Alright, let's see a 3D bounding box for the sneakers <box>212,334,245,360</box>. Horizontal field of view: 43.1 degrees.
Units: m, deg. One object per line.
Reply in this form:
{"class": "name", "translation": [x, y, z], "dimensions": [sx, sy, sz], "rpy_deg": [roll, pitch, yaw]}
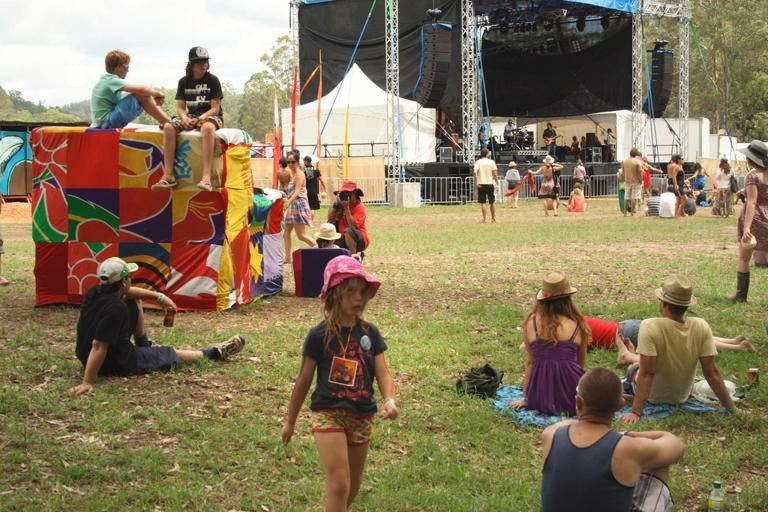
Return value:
{"class": "sneakers", "translation": [-2.375, 1.405, 15.101], "dimensions": [0.566, 0.214, 0.247], "rpy_deg": [-25, -12, 8]}

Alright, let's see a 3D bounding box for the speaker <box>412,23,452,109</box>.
{"class": "speaker", "translation": [1.774, -7.103, 35.246], "dimensions": [1.170, 2.791, 1.885], "rpy_deg": [-1, 4, -2]}

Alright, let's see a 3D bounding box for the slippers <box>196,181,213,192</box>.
{"class": "slippers", "translation": [-3.123, -1.239, 16.902], "dimensions": [0.267, 0.199, 0.241], "rpy_deg": [-2, 4, -2]}

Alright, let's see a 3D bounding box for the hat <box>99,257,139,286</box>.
{"class": "hat", "translation": [-3.903, 0.204, 14.406], "dimensions": [0.334, 0.289, 0.551], "rpy_deg": [10, 24, 24]}

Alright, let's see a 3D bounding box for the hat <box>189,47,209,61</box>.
{"class": "hat", "translation": [-3.199, -3.543, 16.785], "dimensions": [0.287, 0.219, 0.781], "rpy_deg": [-2, 4, -10]}

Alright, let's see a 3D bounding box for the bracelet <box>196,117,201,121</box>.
{"class": "bracelet", "translation": [-3.242, -2.417, 17.048], "dimensions": [0.053, 0.083, 0.081], "rpy_deg": [-2, 4, -11]}

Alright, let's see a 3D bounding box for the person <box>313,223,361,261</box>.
{"class": "person", "translation": [-0.853, -0.333, 18.346], "dimensions": [0.795, 0.438, 0.635], "rpy_deg": [14, 0, -26]}

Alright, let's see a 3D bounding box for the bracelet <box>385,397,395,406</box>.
{"class": "bracelet", "translation": [0.075, 1.779, 11.976], "dimensions": [0.120, 0.069, 0.107], "rpy_deg": [-2, 4, -7]}

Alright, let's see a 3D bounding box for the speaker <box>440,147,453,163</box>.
{"class": "speaker", "translation": [2.520, -4.137, 39.447], "dimensions": [0.556, 0.757, 0.736], "rpy_deg": [2, 4, 33]}

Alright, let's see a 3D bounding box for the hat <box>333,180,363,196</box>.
{"class": "hat", "translation": [-0.716, -1.357, 18.499], "dimensions": [0.613, 0.286, 0.632], "rpy_deg": [2, -1, 2]}

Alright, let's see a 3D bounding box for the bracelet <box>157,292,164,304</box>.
{"class": "bracelet", "translation": [-3.400, 0.626, 14.791], "dimensions": [0.086, 0.167, 0.130], "rpy_deg": [-17, 55, -37]}

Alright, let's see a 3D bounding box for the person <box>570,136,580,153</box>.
{"class": "person", "translation": [8.866, -5.162, 45.070], "dimensions": [0.374, 0.831, 1.273], "rpy_deg": [0, 4, 11]}

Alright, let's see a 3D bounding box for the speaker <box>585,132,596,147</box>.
{"class": "speaker", "translation": [9.603, -5.482, 45.320], "dimensions": [0.484, 0.663, 0.905], "rpy_deg": [-1, 4, 11]}

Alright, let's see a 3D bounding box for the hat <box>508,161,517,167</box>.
{"class": "hat", "translation": [5.143, -3.737, 39.093], "dimensions": [0.517, 0.173, 0.564], "rpy_deg": [1, 2, 7]}

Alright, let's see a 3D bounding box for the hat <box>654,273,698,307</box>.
{"class": "hat", "translation": [3.987, 0.461, 13.335], "dimensions": [0.505, 0.420, 0.230], "rpy_deg": [0, 4, 17]}

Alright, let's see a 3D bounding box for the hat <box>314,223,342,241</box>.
{"class": "hat", "translation": [-1.071, -0.482, 18.799], "dimensions": [0.518, 0.241, 0.612], "rpy_deg": [2, -2, 2]}

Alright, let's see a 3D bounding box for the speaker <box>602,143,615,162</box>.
{"class": "speaker", "translation": [10.365, -4.836, 44.989], "dimensions": [0.404, 0.819, 1.395], "rpy_deg": [0, 5, 22]}

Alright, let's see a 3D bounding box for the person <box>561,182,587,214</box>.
{"class": "person", "translation": [6.758, -2.111, 34.140], "dimensions": [0.833, 1.177, 1.113], "rpy_deg": [2, 7, 10]}

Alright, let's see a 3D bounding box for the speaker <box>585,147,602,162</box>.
{"class": "speaker", "translation": [9.477, -4.642, 44.143], "dimensions": [0.664, 0.719, 0.232], "rpy_deg": [0, 4, 7]}

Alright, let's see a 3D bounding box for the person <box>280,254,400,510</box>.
{"class": "person", "translation": [-0.506, 1.636, 12.022], "dimensions": [1.285, 3.260, 0.641], "rpy_deg": [-2, 4, -8]}

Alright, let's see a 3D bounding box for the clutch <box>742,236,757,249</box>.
{"class": "clutch", "translation": [6.360, -0.254, 16.917], "dimensions": [0.250, 0.211, 0.125], "rpy_deg": [-2, 4, -13]}

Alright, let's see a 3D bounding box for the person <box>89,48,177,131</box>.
{"class": "person", "translation": [-4.533, -2.926, 17.091], "dimensions": [1.410, 1.337, 0.631], "rpy_deg": [-1, 4, -1]}

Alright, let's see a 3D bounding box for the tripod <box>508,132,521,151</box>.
{"class": "tripod", "translation": [5.994, -5.274, 44.014], "dimensions": [0.797, 0.874, 0.605], "rpy_deg": [-4, 5, -33]}

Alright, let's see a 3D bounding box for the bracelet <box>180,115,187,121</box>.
{"class": "bracelet", "translation": [-3.507, -2.431, 17.016], "dimensions": [0.090, 0.073, 0.093], "rpy_deg": [-1, -7, 6]}

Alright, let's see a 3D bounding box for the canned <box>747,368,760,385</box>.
{"class": "canned", "translation": [5.388, 1.740, 14.194], "dimensions": [0.177, 0.197, 0.184], "rpy_deg": [-1, -1, 16]}

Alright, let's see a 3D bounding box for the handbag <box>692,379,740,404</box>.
{"class": "handbag", "translation": [4.717, 1.943, 13.924], "dimensions": [0.423, 0.148, 0.444], "rpy_deg": [0, 22, 21]}

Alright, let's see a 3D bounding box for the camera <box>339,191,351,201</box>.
{"class": "camera", "translation": [-0.741, -1.155, 18.355], "dimensions": [0.212, 0.178, 0.324], "rpy_deg": [-2, 4, -2]}

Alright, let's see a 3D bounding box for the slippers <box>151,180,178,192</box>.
{"class": "slippers", "translation": [-3.817, -1.243, 16.935], "dimensions": [0.436, 0.167, 0.174], "rpy_deg": [-2, -2, -7]}

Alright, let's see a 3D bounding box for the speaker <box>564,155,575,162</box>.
{"class": "speaker", "translation": [8.482, -4.505, 44.507], "dimensions": [0.425, 0.323, 0.467], "rpy_deg": [0, 1, 26]}

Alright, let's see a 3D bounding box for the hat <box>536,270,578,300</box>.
{"class": "hat", "translation": [2.433, 0.407, 13.749], "dimensions": [0.523, 0.404, 0.247], "rpy_deg": [-1, 4, 10]}
